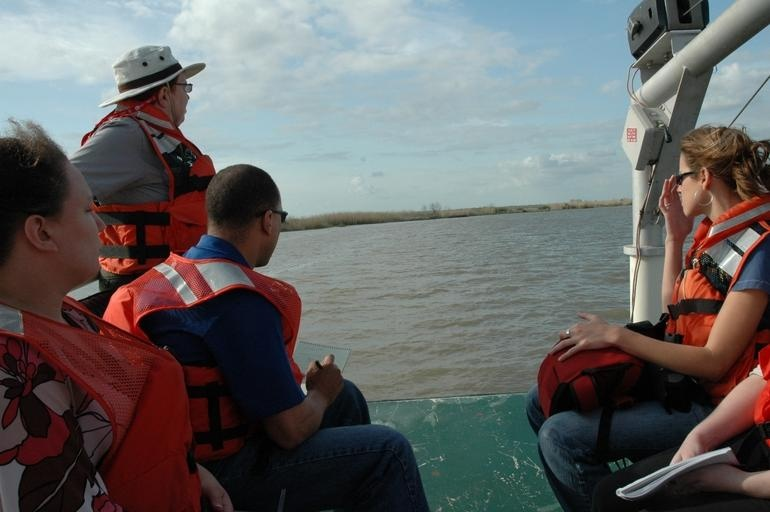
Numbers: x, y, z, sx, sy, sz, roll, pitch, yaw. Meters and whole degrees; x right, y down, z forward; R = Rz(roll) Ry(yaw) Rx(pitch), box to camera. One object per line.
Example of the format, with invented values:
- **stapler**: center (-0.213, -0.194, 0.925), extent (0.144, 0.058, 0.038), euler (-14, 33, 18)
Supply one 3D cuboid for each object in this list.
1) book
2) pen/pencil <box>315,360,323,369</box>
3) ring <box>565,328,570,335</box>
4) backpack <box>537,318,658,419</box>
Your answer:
- **book**: center (1.208, 0.901, 2.453), extent (0.327, 0.100, 0.321), euler (-19, -12, 20)
- **pen/pencil**: center (-0.351, 0.566, 3.082), extent (0.030, 0.040, 0.015), euler (-32, 3, -31)
- **ring**: center (0.976, 0.410, 3.182), extent (0.019, 0.030, 0.032), euler (1, -29, 39)
- **backpack**: center (1.079, 0.572, 2.995), extent (0.448, 0.167, 0.425), euler (-9, 19, 4)
